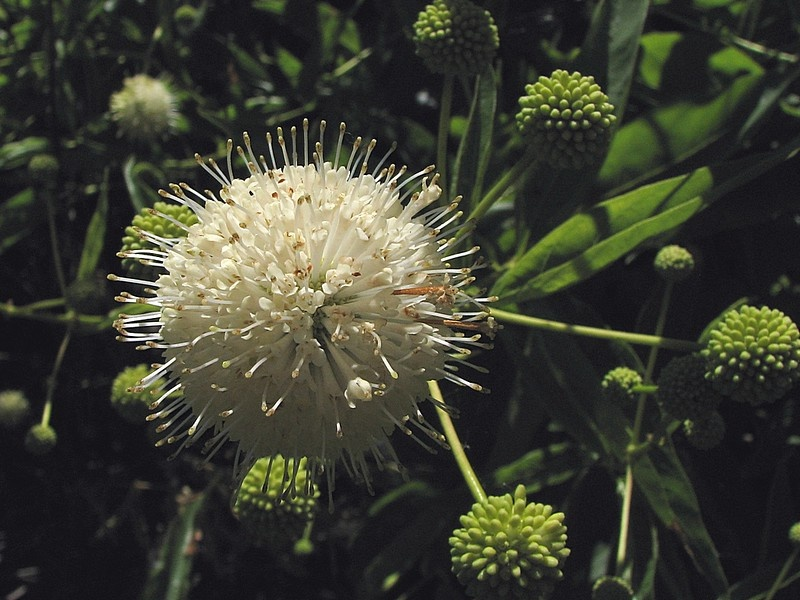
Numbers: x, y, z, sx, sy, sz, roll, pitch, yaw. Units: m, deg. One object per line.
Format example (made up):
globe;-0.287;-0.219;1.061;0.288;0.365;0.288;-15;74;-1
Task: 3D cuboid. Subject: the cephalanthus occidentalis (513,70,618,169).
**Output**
cephalanthus occidentalis;0.513;-0.526;2.347;0.216;0.221;0.240;1;97;-43

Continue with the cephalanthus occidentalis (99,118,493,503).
cephalanthus occidentalis;-0.268;0.026;2.255;0.823;0.815;0.794;9;88;-6

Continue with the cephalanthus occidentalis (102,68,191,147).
cephalanthus occidentalis;-0.852;-0.633;2.646;0.224;0.231;0.230;1;84;-23
